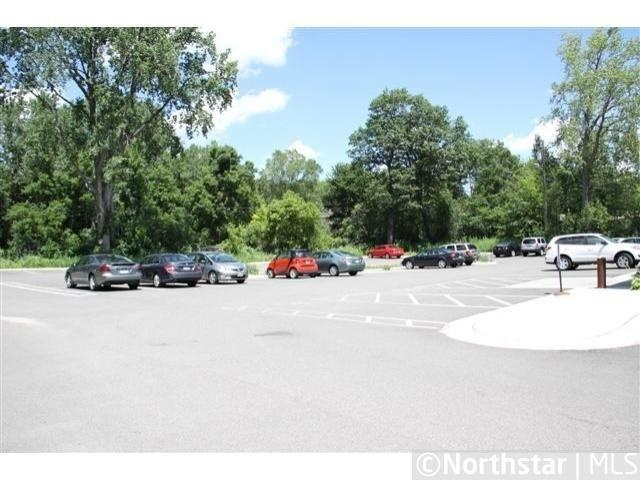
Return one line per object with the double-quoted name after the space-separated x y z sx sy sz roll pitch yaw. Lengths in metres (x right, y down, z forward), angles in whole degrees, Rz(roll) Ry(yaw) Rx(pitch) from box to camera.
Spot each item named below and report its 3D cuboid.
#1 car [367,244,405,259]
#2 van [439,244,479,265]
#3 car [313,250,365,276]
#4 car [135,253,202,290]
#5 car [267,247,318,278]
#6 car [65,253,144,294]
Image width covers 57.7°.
7.598 1.352 67.639 1.590 1.499 3.938 2 -3 -41 "car"
10.449 1.085 43.963 2.768 1.446 1.408 3 3 23 "van"
1.206 1.361 35.386 1.355 1.140 2.973 0 3 -40 "car"
-7.073 1.411 27.130 3.012 1.521 1.269 -2 -3 40 "car"
-1.684 1.343 34.104 1.545 1.464 2.494 1 0 -44 "car"
-9.866 1.436 25.948 1.561 1.321 3.390 3 -1 -45 "car"
